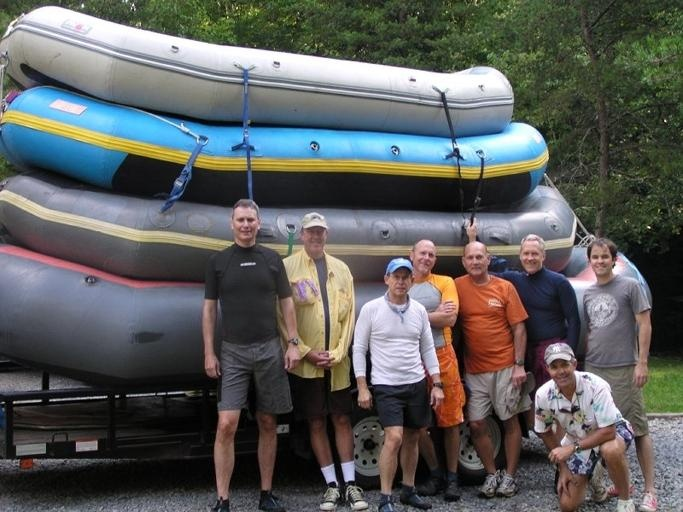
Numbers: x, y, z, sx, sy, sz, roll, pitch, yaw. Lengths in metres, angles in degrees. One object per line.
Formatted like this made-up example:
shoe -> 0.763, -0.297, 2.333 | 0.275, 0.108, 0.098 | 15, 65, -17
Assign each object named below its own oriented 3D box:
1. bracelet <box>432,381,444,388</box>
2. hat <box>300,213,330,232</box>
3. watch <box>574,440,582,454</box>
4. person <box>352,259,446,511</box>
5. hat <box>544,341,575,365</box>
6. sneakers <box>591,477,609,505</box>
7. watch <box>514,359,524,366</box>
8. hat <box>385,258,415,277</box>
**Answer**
bracelet -> 0.866, 1.152, 5.783 | 0.070, 0.045, 0.064 | 0, -1, 8
hat -> -0.251, -0.308, 5.882 | 0.212, 0.155, 0.218 | 4, 4, -4
watch -> 1.975, 1.611, 5.441 | 0.028, 0.090, 0.064 | -4, -6, -13
person -> 0.517, 1.132, 5.788 | 0.772, 2.201, 0.638 | 0, 5, -43
hat -> 1.837, 0.833, 5.419 | 0.262, 0.192, 0.189 | 4, 4, 6
sneakers -> 2.320, 2.120, 5.819 | 0.109, 0.141, 0.313 | -1, -15, -1
watch -> 1.690, 1.017, 6.197 | 0.081, 0.064, 0.059 | 5, 4, 12
hat -> 0.501, 0.111, 5.684 | 0.193, 0.156, 0.195 | 3, 4, -5
